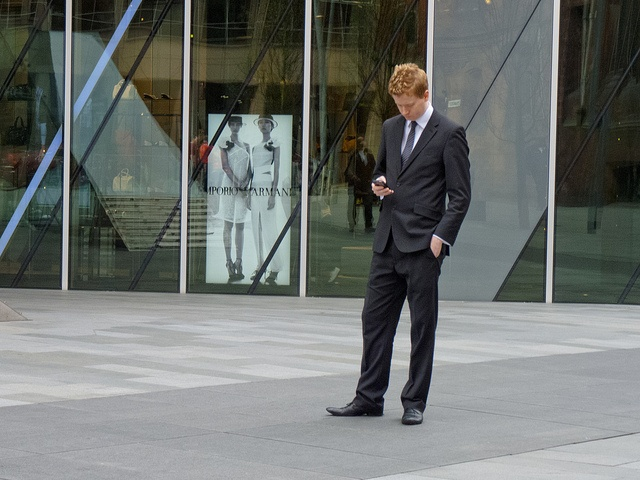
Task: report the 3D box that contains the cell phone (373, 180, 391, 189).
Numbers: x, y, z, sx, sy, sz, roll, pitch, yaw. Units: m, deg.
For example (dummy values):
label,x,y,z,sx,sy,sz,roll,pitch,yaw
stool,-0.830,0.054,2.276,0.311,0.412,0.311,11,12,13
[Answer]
label,x,y,z,sx,sy,sz,roll,pitch,yaw
cell phone,0.445,-0.405,6.015,0.097,0.018,0.174,-6,-28,24

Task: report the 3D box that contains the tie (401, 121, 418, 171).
label,x,y,z,sx,sy,sz,roll,pitch,yaw
tie,0.657,-0.714,6.112,0.065,0.480,0.050,3,-31,25
